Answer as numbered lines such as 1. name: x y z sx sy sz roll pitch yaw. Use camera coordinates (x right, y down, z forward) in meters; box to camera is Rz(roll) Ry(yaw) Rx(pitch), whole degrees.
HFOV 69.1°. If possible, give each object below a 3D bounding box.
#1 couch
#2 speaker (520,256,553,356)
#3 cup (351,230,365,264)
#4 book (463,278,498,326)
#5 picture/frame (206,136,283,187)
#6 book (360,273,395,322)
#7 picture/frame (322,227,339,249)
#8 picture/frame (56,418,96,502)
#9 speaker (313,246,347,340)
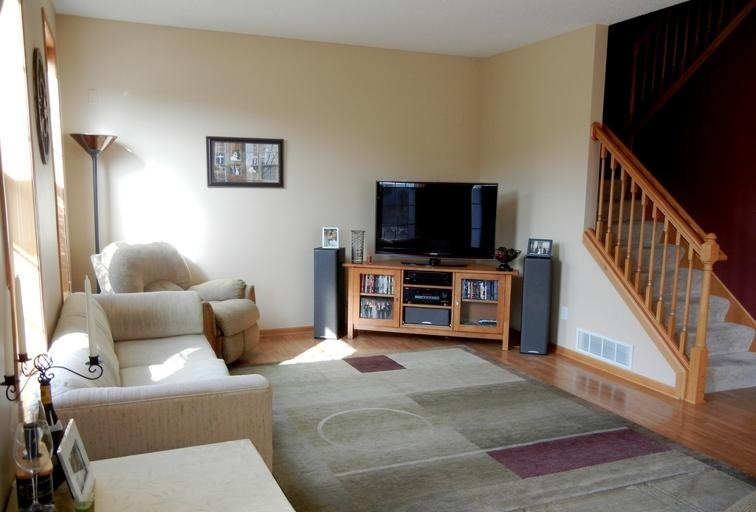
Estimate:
1. couch: -1.571 0.849 3.880 1.080 0.775 2.293 -1 9 -27
2. speaker: 1.668 0.517 5.795 0.303 1.038 0.187 3 12 13
3. cup: -0.235 -0.112 6.399 0.159 0.349 0.394 0 12 -2
4. book: 1.144 0.492 6.120 0.475 0.676 0.354 2 8 4
5. picture/frame: -1.461 -1.031 6.051 0.814 0.527 0.114 -3 13 -19
6. book: -0.004 0.461 6.271 0.537 0.719 0.037 2 5 1
7. picture/frame: -0.548 -0.206 6.275 0.252 0.293 0.030 0 7 -2
8. picture/frame: -1.300 0.874 2.349 0.024 0.299 0.346 -13 6 -13
9. speaker: -0.506 0.408 6.309 0.305 1.021 0.514 10 15 38
